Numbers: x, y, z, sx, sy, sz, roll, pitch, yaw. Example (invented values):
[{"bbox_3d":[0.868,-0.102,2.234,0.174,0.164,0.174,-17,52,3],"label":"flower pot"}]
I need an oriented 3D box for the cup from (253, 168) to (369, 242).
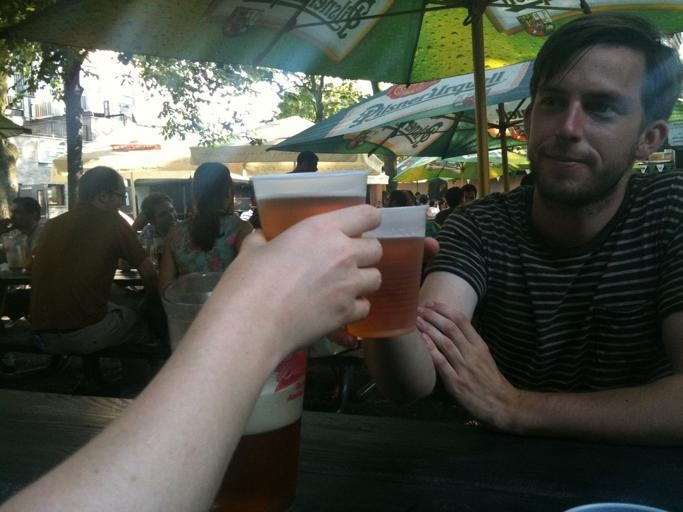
[{"bbox_3d":[-0.063,-0.119,1.148,0.186,0.132,0.170,-3,5,0],"label":"cup"}]

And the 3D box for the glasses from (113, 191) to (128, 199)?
[{"bbox_3d":[-2.011,-0.565,4.812,0.129,0.093,0.113,-7,10,-44],"label":"glasses"}]

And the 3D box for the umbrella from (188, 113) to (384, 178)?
[{"bbox_3d":[-1.021,-2.110,10.503,3.616,1.380,3.513,0,3,-13],"label":"umbrella"}]
